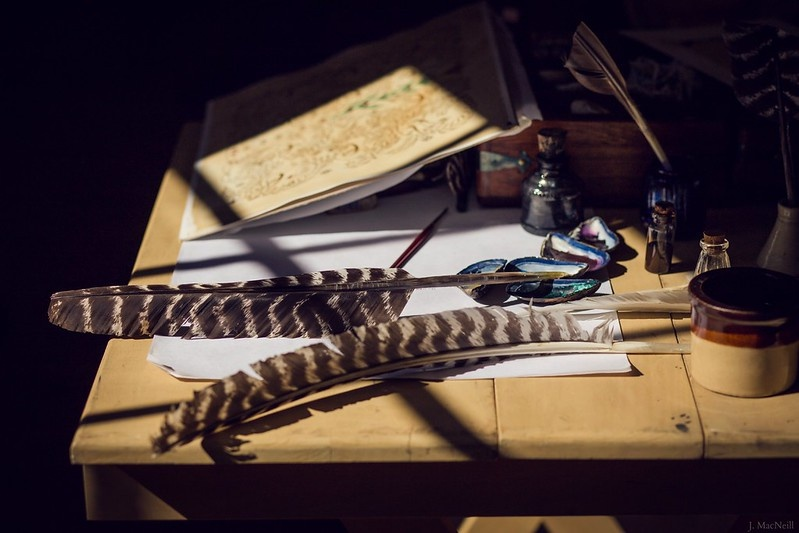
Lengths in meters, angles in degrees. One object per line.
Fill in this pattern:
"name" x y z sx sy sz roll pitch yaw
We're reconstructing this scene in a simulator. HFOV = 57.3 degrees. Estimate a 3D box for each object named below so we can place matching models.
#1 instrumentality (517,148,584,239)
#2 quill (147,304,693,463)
"instrumentality" 0.288 -0.157 1.532 0.163 0.158 0.151 -5 25 -5
"quill" -0.035 0.158 1.164 0.874 0.044 0.146 -16 43 16
